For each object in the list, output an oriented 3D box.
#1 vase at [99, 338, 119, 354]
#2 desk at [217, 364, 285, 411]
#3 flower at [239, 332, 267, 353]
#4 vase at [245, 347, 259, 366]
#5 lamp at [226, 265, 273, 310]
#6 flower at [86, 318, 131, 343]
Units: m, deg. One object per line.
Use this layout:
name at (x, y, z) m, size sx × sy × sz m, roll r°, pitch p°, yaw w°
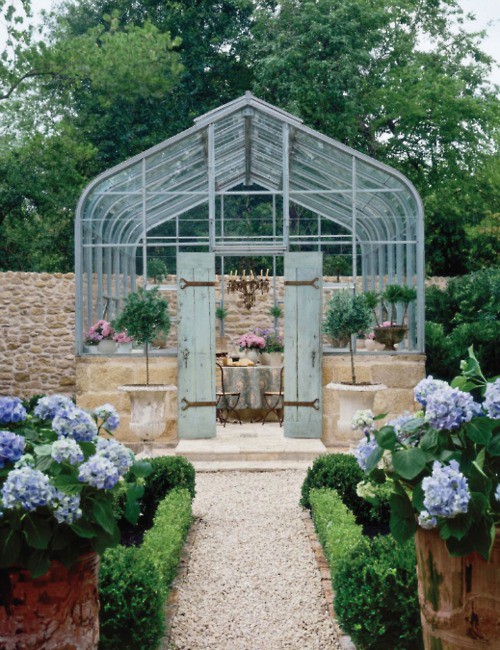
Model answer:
vase at (-1.778, 0.261, 9.235) m, size 0.195 × 0.136 × 0.190 m, roll 3°, pitch -4°, yaw -22°
desk at (0.016, 0.854, 10.118) m, size 0.801 × 0.593 × 0.240 m, roll 4°, pitch 1°, yaw -23°
flower at (0.039, 0.276, 11.081) m, size 0.399 × 0.280 × 0.370 m, roll 4°, pitch 1°, yaw 1°
vase at (0.033, 0.453, 11.028) m, size 0.209 × 0.294 × 0.205 m, roll 1°, pitch -7°, yaw -6°
lamp at (-0.036, -0.592, 11.088) m, size 0.711 × 1.005 × 0.711 m, roll 0°, pitch -4°, yaw -5°
flower at (-1.787, 0.086, 9.138) m, size 0.398 × 0.277 × 0.337 m, roll 2°, pitch -3°, yaw -7°
